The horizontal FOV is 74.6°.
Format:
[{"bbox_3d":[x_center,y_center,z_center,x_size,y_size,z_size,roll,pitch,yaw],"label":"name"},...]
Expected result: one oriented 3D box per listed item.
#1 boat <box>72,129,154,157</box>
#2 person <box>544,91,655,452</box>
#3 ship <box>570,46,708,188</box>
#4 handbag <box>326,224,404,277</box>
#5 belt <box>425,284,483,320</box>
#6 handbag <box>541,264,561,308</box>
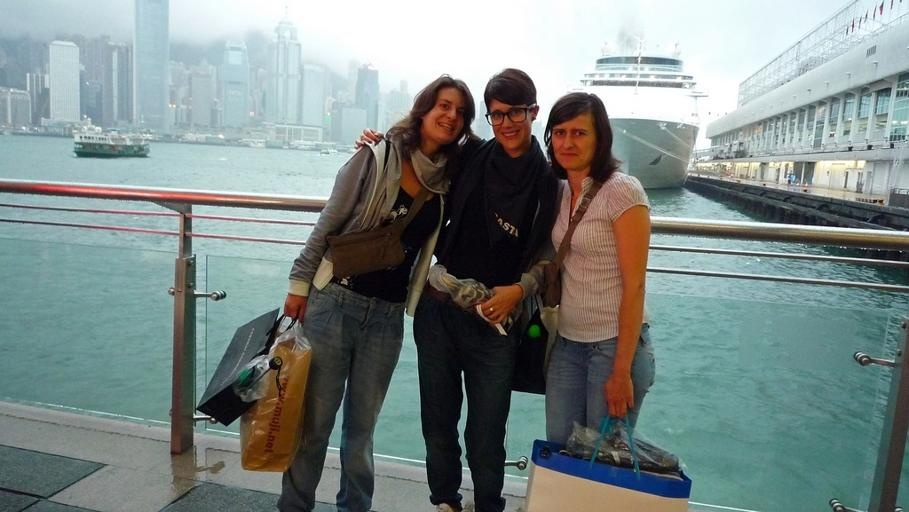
[{"bbox_3d":[-41.232,-13.117,70.756,5.004,2.776,10.816,2,8,-6],"label":"boat"},{"bbox_3d":[0.765,0.079,3.359,0.353,1.983,0.679,-4,12,-39],"label":"person"},{"bbox_3d":[14.849,-11.113,50.817,10.376,8.300,30.400,11,12,11],"label":"ship"},{"bbox_3d":[-0.532,-0.038,3.479,0.326,0.192,0.114,-11,14,-1],"label":"handbag"},{"bbox_3d":[-0.029,0.279,3.623,0.245,0.058,0.180,20,0,-43],"label":"belt"},{"bbox_3d":[0.565,0.161,3.431,0.124,0.249,0.181,-1,28,-2],"label":"handbag"}]
